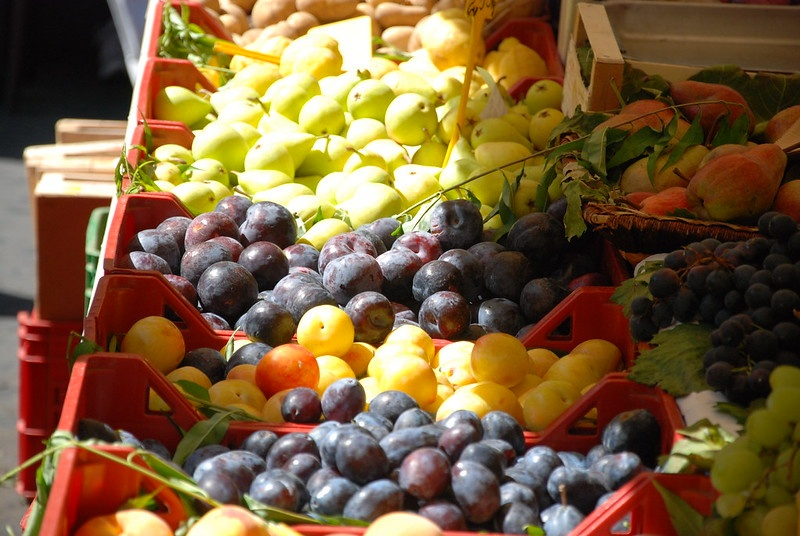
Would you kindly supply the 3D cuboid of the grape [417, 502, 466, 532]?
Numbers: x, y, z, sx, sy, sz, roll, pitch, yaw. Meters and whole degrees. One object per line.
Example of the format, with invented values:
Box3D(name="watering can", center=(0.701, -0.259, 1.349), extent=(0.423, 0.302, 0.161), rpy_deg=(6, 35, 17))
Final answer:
Box3D(name="grape", center=(0.101, 0.554, 1.584), extent=(0.076, 0.061, 0.060), rpy_deg=(13, -8, -8))
